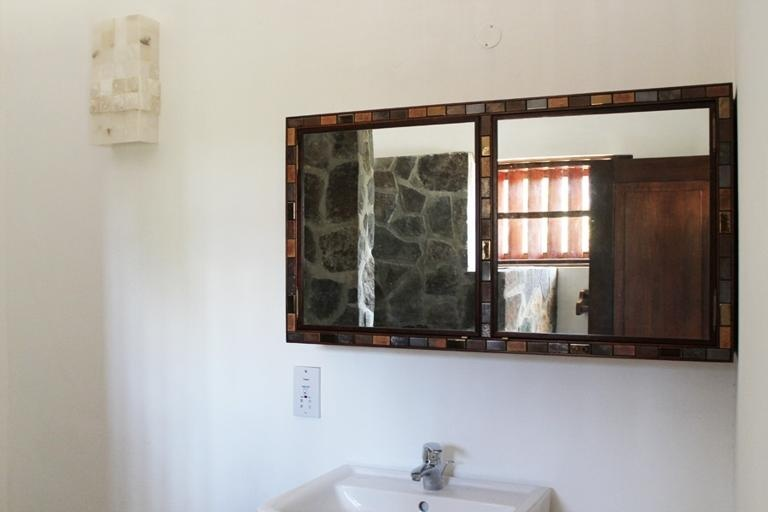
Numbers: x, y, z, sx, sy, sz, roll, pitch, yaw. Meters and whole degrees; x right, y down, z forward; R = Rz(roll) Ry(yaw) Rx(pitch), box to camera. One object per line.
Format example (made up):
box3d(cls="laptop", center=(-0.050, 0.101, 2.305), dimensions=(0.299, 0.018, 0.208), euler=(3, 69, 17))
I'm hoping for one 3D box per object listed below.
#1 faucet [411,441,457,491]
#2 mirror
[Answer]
box3d(cls="faucet", center=(0.153, 0.697, 2.302), dimensions=(0.108, 0.143, 0.198), euler=(3, 6, 32))
box3d(cls="mirror", center=(0.334, -0.096, 2.289), dimensions=(1.428, 0.843, 0.039), euler=(0, 0, 19))
